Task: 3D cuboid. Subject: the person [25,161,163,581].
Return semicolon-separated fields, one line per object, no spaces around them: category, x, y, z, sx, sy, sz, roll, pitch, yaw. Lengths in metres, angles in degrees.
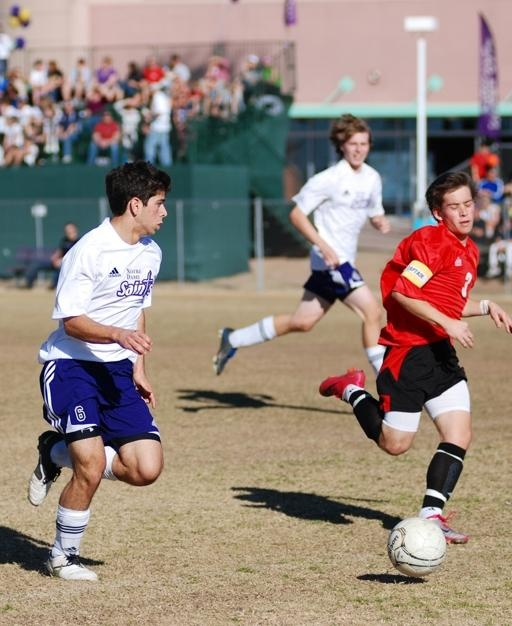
person;-0.671;0.232;4.631;0.638;1.710;0.642;0;6;5

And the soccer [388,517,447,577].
soccer;0.689;0.947;4.496;0.219;0.231;0.208;-17;-30;-4

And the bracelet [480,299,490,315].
bracelet;1.005;-0.020;4.886;0.048;0.029;0.060;8;20;22

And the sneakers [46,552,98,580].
sneakers;-0.750;1.046;4.608;0.185;0.068;0.094;3;0;29

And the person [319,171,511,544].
person;0.720;0.219;4.888;0.455;1.661;0.836;-5;8;-34
